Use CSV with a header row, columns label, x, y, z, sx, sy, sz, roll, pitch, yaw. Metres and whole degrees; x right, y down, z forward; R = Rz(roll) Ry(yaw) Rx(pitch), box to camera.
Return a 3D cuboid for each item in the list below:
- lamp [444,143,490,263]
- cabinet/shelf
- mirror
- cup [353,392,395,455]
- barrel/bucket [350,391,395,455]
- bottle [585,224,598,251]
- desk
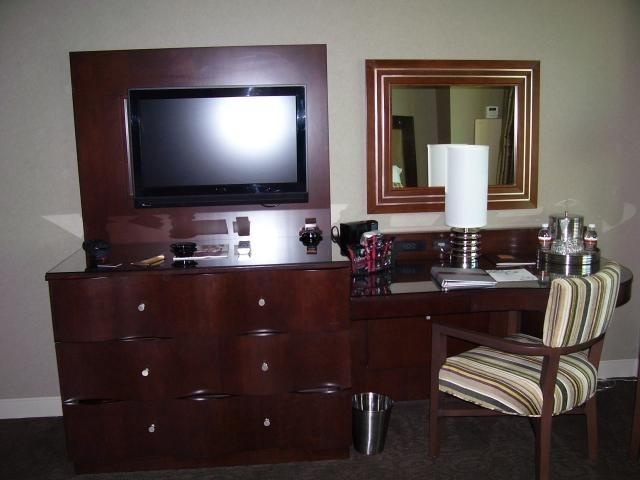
label,x,y,z,sx,sy,sz,roll,pitch,yaw
lamp,0.906,-0.221,3.397,0.258,0.729,0.309,-1,9,12
cabinet/shelf,-0.618,0.476,3.283,1.976,1.404,1.025,-1,10,-2
mirror,0.797,-0.691,3.468,0.947,0.853,0.072,-1,4,-3
cup,0.313,1.091,3.249,0.326,0.296,0.320,4,-26,2
barrel/bucket,0.314,1.042,3.209,0.274,0.264,0.281,0,3,0
bottle,1.688,-0.024,3.423,0.078,0.157,0.176,1,9,26
desk,0.885,0.439,3.115,1.046,0.702,0.376,-3,11,-12
